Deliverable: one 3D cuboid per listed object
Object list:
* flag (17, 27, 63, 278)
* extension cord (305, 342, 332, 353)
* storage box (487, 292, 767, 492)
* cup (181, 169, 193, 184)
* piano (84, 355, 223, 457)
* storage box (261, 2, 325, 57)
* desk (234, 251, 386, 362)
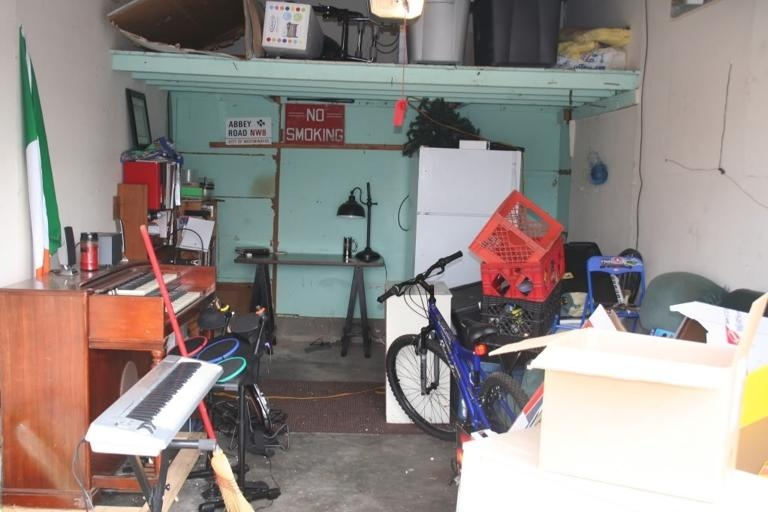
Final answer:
[{"bbox_3d":[-2.371,-0.699,4.685,0.220,1.580,0.480,-2,15,-28],"label":"flag"},{"bbox_3d":[-0.707,0.957,7.275,0.231,0.081,0.085,-8,21,-9],"label":"extension cord"},{"bbox_3d":[1.040,0.623,2.893,1.132,0.800,0.828,2,-1,29],"label":"storage box"},{"bbox_3d":[-1.963,-0.808,6.867,0.120,0.137,0.127,6,24,-3],"label":"cup"},{"bbox_3d":[-1.214,0.777,3.742,0.447,0.155,0.857,2,18,10],"label":"piano"},{"bbox_3d":[-0.742,-1.841,5.894,0.480,0.485,0.501,3,-16,5],"label":"storage box"},{"bbox_3d":[-0.780,0.481,7.241,1.535,0.945,0.562,1,9,-4],"label":"desk"}]
